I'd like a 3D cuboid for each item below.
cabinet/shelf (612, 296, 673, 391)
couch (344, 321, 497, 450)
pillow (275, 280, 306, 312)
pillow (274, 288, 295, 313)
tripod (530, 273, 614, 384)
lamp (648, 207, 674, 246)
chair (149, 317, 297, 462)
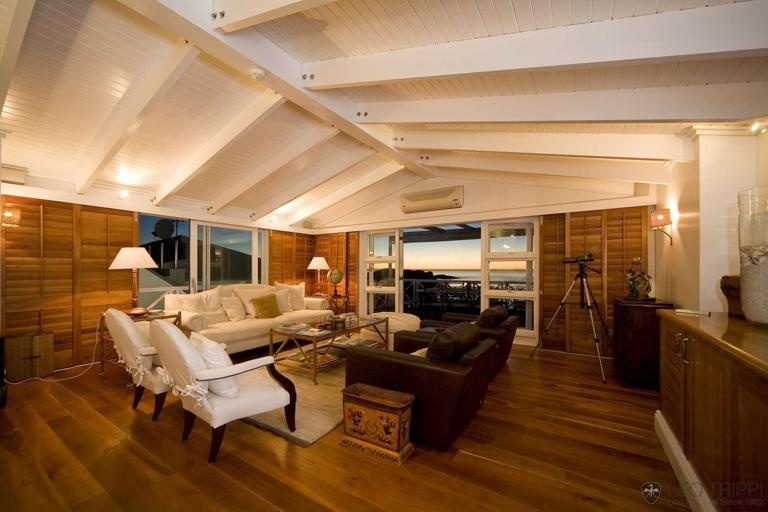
[{"bbox_3d":[3.535,0.971,7.052,0.958,1.531,1.648,-1,-3,25],"label":"cabinet/shelf"},{"bbox_3d":[0.413,1.409,5.573,1.243,0.765,1.270,1,-3,35],"label":"couch"},{"bbox_3d":[-1.719,0.742,8.817,0.473,0.492,0.192,1,-21,-31],"label":"pillow"},{"bbox_3d":[-1.779,0.803,8.575,0.146,0.370,0.337,-20,-15,13],"label":"pillow"},{"bbox_3d":[2.814,1.012,7.670,1.364,1.720,1.313,-1,-5,27],"label":"tripod"},{"bbox_3d":[3.766,-0.400,6.610,0.386,0.467,0.292,-11,6,-40],"label":"lamp"},{"bbox_3d":[-1.794,1.333,5.524,1.282,1.404,1.117,-6,7,-38],"label":"chair"}]
